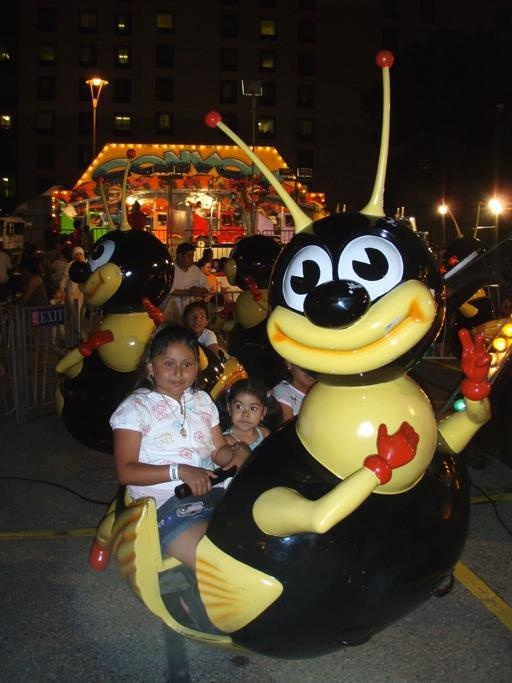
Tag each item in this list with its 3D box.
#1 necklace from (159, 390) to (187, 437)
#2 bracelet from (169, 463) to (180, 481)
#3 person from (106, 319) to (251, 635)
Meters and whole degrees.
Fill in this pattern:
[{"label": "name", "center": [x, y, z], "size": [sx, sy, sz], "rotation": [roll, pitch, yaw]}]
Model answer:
[{"label": "necklace", "center": [-0.306, 0.289, 2.320], "size": [0.121, 0.158, 0.066], "rotation": [-25, -6, 22]}, {"label": "bracelet", "center": [-0.285, 0.464, 2.068], "size": [0.041, 0.050, 0.020], "rotation": [9, 13, 29]}, {"label": "person", "center": [-0.304, 0.473, 2.300], "size": [0.600, 0.974, 0.531], "rotation": [10, 4, 19]}]
